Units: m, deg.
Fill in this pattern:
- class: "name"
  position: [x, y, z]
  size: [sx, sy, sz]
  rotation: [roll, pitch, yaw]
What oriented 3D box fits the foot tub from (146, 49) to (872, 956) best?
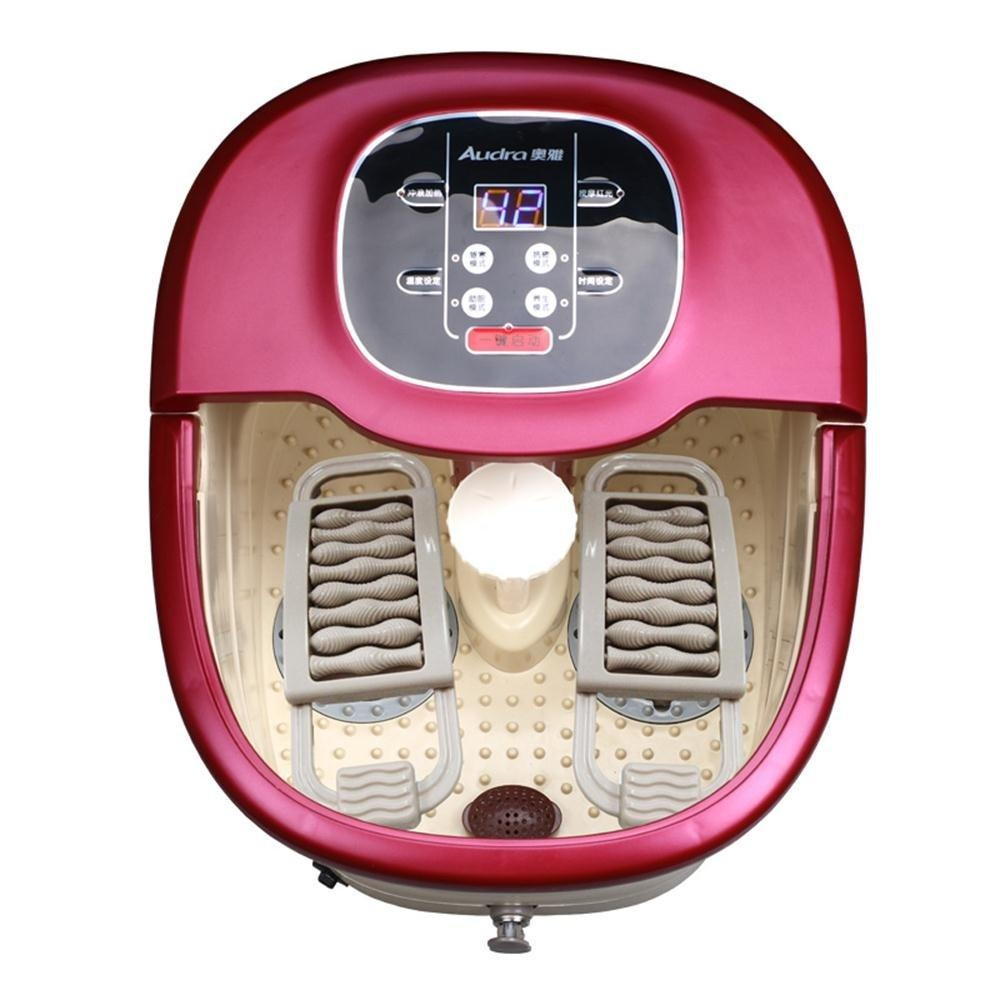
- class: "foot tub"
  position: [0.008, 0.022, 1.319]
  size: [0.783, 0.509, 0.778]
  rotation: [-1, -99, 0]
